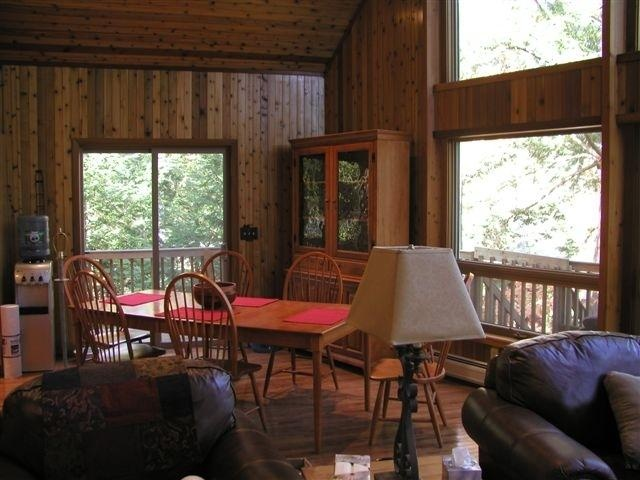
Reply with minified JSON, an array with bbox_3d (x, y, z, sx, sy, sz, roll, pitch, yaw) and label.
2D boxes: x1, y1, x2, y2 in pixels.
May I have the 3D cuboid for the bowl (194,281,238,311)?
[{"bbox_3d":[-0.783,0.425,4.149,0.243,0.147,0.248,-1,-4,0],"label":"bowl"}]

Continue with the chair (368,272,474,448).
[{"bbox_3d":[0.741,0.915,4.160,0.710,1.102,0.665,1,3,10],"label":"chair"}]

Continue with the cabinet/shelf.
[{"bbox_3d":[0.266,0.052,5.783,0.641,2.294,1.321,-4,6,-42],"label":"cabinet/shelf"}]

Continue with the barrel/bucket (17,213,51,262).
[{"bbox_3d":[-2.879,-0.002,5.524,0.271,0.459,0.187,-5,9,-31],"label":"barrel/bucket"}]
